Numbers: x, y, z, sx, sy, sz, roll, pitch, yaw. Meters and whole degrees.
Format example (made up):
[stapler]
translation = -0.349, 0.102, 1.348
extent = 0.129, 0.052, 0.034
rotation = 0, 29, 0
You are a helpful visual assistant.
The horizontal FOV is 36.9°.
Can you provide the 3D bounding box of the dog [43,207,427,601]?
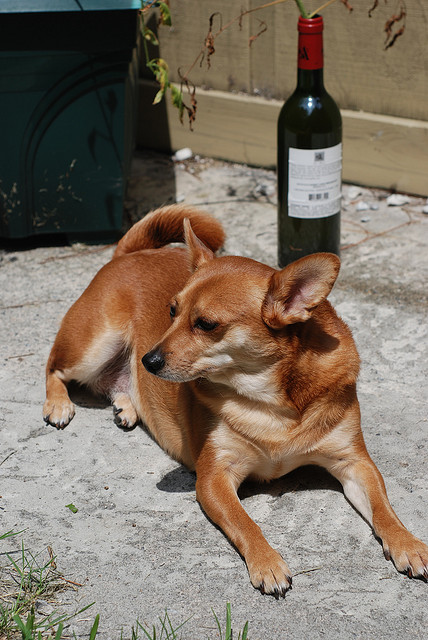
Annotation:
[dog]
translation = -0.032, 0.109, 2.663
extent = 1.005, 1.123, 1.834
rotation = -13, 28, -27
